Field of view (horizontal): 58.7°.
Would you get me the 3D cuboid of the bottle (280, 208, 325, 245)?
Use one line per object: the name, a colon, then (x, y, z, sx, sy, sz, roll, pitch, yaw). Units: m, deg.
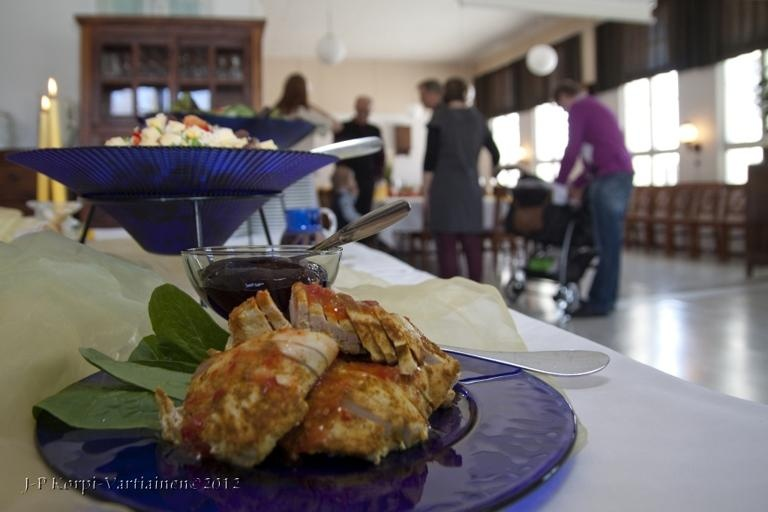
bottle: (-0.147, -0.053, 1.249, 0.087, 0.076, 0.055, -2, 3, -35)

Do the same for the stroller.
stroller: (0.741, -0.113, 3.985, 0.714, 1.042, 0.626, -2, 8, -3)

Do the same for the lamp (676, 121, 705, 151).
lamp: (3.304, -1.291, 7.448, 0.164, 0.322, 0.318, -2, 6, -6)
